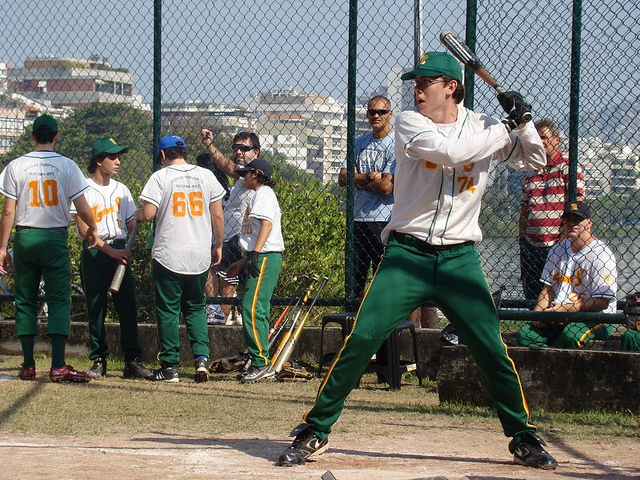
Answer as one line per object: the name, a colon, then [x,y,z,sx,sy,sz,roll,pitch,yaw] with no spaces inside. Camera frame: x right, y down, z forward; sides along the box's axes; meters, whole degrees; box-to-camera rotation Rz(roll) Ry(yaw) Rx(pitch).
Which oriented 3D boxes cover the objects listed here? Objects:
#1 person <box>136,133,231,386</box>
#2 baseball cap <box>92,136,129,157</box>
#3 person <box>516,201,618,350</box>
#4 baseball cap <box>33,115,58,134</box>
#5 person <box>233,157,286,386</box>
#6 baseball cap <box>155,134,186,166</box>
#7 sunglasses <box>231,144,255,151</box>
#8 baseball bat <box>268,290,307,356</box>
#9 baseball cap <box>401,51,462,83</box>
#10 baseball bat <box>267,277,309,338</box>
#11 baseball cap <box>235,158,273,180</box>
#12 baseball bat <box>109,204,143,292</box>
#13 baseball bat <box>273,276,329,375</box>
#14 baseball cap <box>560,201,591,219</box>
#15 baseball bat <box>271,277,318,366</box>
person: [-1.380,0.134,10.581,0.821,2.424,1.233,1,4,-4]
baseball cap: [-2.081,-0.925,10.368,0.253,0.136,0.169,-2,7,-3]
person: [2.204,0.408,9.638,0.907,1.560,0.830,-1,4,-25]
baseball cap: [-2.635,-1.114,10.141,0.221,0.176,0.202,0,5,-15]
person: [-0.579,0.287,10.232,0.447,2.144,0.376,0,4,-6]
baseball cap: [-1.499,-0.924,10.558,0.343,0.274,0.561,8,5,-16]
sunglasses: [-0.830,-0.994,11.257,0.242,0.068,0.084,2,5,14]
baseball bat: [-0.323,0.831,10.636,0.064,0.972,0.067,24,-37,16]
baseball cap: [0.826,-1.253,7.694,0.465,0.260,0.328,-2,4,-25]
baseball bat: [-0.322,0.681,10.782,0.104,0.764,0.081,35,14,-30]
baseball cap: [-0.632,-0.689,10.249,0.290,0.172,0.190,1,-4,-2]
baseball bat: [-1.949,0.067,10.554,0.115,1.010,0.116,22,-19,-8]
baseball bat: [-0.196,0.863,10.674,0.133,1.073,0.117,29,-7,12]
baseball cap: [2.336,-0.286,9.633,0.241,0.148,0.259,2,5,14]
baseball bat: [-0.259,0.828,10.726,0.134,1.018,0.100,30,-20,0]
